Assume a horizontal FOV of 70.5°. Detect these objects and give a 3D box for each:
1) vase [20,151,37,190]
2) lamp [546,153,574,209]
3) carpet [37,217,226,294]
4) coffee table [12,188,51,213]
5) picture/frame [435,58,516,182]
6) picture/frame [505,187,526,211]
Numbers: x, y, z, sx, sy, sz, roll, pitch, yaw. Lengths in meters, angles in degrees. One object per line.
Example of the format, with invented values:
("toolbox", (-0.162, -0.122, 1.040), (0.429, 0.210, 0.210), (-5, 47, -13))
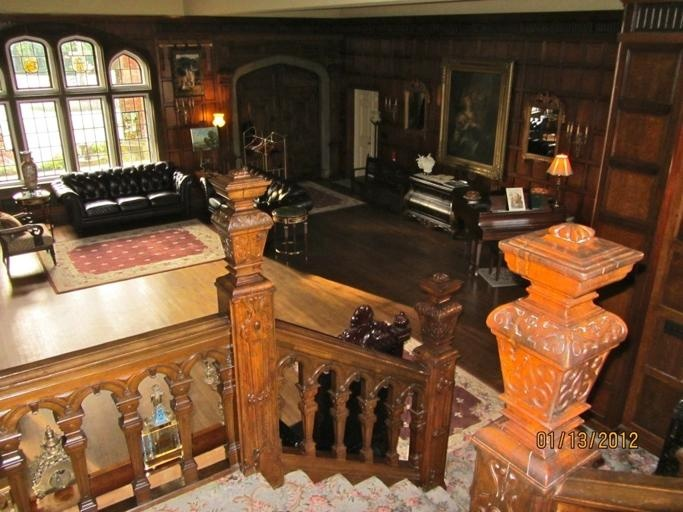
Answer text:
("vase", (-6.007, -1.631, 9.300), (0.262, 0.688, 0.518), (-14, 24, -30))
("lamp", (3.528, -1.226, 7.831), (0.352, 0.840, 0.966), (9, 22, 24))
("carpet", (-3.731, -0.074, 8.746), (2.871, 0.283, 2.387), (-12, 21, -30))
("coffee table", (-5.859, -1.091, 9.163), (0.546, 0.347, 0.546), (-15, 28, -37))
("picture/frame", (2.634, -2.646, 9.350), (0.218, 2.069, 2.559), (-10, 17, -25))
("picture/frame", (2.722, -0.872, 7.595), (0.429, 0.474, 0.036), (-4, -2, -15))
